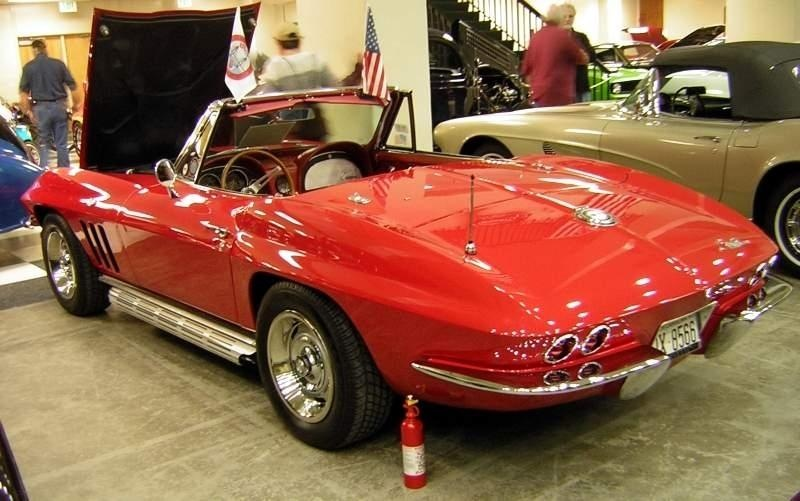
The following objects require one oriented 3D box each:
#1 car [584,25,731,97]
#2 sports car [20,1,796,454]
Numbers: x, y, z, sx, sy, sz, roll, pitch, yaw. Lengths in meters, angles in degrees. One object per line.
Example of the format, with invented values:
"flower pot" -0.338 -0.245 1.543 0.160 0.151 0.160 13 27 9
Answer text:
"car" 7.542 -4.479 12.948 5.139 1.371 2.798 -12 24 -38
"sports car" -0.670 -0.496 4.368 6.065 2.312 2.912 16 22 39
